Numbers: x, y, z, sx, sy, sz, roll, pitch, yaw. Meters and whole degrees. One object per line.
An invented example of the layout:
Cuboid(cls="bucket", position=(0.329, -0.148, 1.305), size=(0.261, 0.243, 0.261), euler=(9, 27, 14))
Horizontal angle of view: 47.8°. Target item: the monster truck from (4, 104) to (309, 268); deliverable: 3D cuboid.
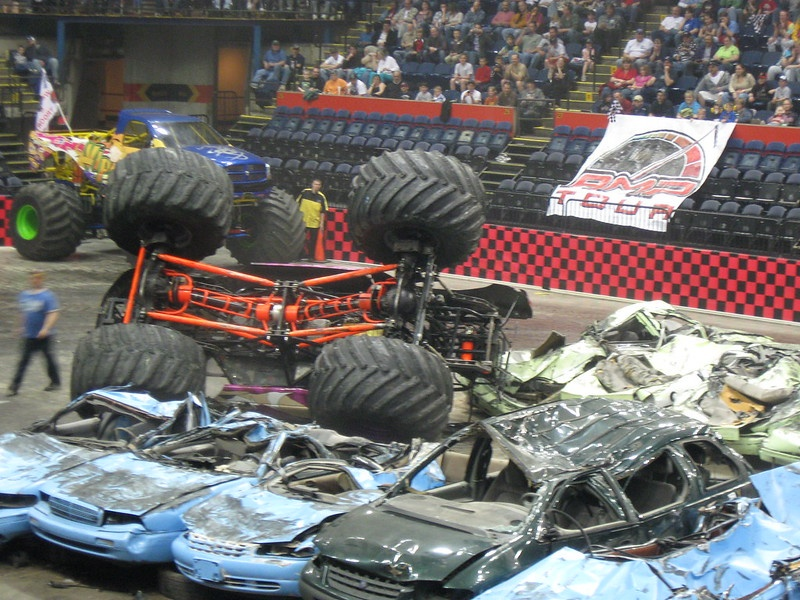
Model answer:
Cuboid(cls="monster truck", position=(-5.363, -2.550, 19.617), size=(8.082, 2.274, 3.626), euler=(2, 10, 16))

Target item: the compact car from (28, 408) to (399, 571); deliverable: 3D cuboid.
Cuboid(cls="compact car", position=(-1.719, 1.820, 9.063), size=(3.170, 0.620, 1.427), euler=(-7, 10, -37))

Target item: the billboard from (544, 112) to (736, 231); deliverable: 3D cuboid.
Cuboid(cls="billboard", position=(5.416, -2.996, 20.426), size=(2.979, 2.467, 3.392), euler=(16, 19, 11))

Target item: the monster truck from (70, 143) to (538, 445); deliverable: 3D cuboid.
Cuboid(cls="monster truck", position=(-1.403, 0.292, 11.635), size=(6.567, 2.188, 3.843), euler=(3, 47, -1))

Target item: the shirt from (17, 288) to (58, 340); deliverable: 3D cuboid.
Cuboid(cls="shirt", position=(-4.998, 0.160, 12.474), size=(0.480, 0.653, 0.557), euler=(8, 21, -18))

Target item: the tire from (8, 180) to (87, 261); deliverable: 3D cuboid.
Cuboid(cls="tire", position=(-7.593, -1.722, 19.567), size=(2.694, 1.674, 0.990), euler=(9, -3, 37))
